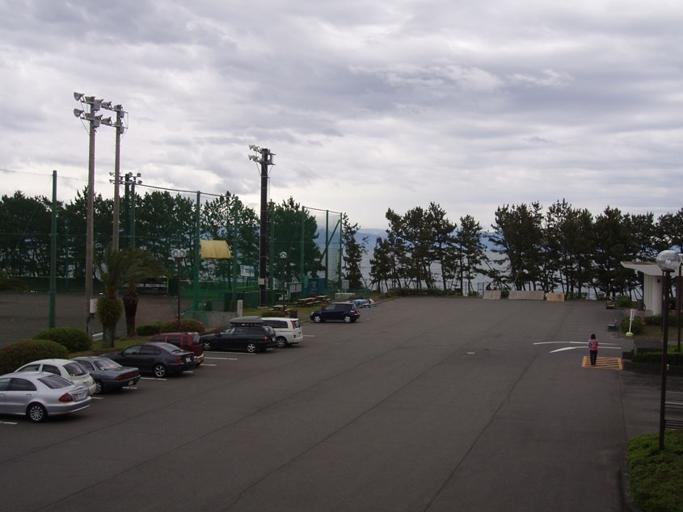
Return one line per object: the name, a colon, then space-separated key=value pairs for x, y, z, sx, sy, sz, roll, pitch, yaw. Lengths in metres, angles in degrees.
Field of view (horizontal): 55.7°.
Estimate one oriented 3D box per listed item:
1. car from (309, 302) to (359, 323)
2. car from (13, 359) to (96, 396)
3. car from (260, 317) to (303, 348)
car: x=-0.373 y=5.095 z=58.493 sx=3.765 sy=1.761 sz=1.901 roll=2 pitch=-1 yaw=12
car: x=-11.879 y=5.454 z=28.017 sx=3.073 sy=1.624 sz=1.782 roll=5 pitch=1 yaw=15
car: x=-3.919 y=5.045 z=43.439 sx=2.693 sy=1.329 sz=1.527 roll=4 pitch=0 yaw=13
